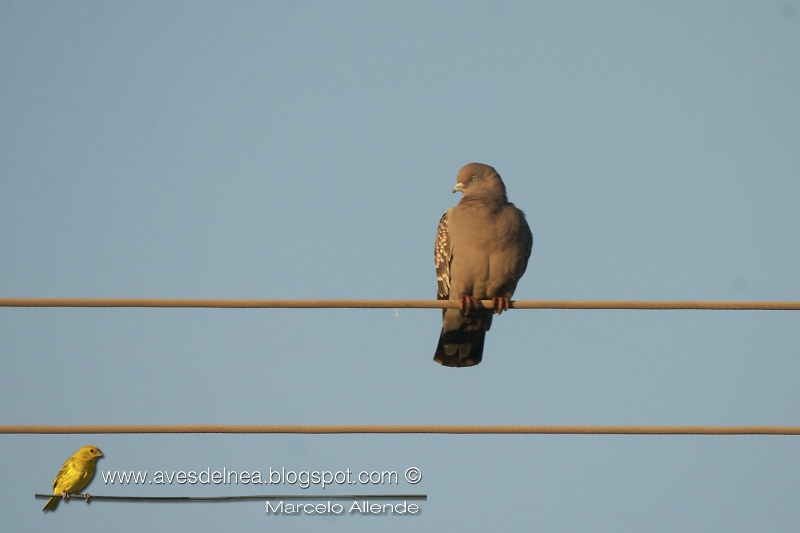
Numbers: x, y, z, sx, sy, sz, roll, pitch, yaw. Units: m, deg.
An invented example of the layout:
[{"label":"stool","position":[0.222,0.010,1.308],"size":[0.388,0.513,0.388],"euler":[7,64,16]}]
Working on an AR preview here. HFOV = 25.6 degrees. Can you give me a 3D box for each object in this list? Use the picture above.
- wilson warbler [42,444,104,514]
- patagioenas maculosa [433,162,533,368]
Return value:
[{"label":"wilson warbler","position":[-3.125,1.953,16.658],"size":[0.672,0.527,0.312],"euler":[-12,-13,23]},{"label":"patagioenas maculosa","position":[0.799,-0.233,17.037],"size":[0.728,1.074,1.715],"euler":[-1,-88,-7]}]
